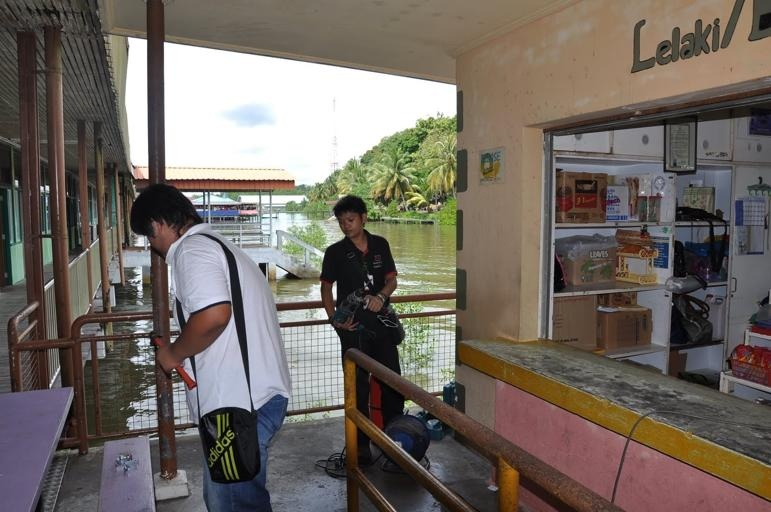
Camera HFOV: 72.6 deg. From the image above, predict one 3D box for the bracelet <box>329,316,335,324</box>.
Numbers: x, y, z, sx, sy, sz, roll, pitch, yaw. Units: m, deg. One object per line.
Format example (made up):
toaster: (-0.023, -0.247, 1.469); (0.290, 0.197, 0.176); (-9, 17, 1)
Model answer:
bracelet: (-0.560, 0.652, 5.268); (0.065, 0.075, 0.082); (2, -4, -21)

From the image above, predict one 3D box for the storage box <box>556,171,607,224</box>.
storage box: (2.066, -0.613, 5.785); (0.568, 0.563, 0.576); (2, 5, -3)

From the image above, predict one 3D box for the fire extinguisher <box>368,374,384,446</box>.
fire extinguisher: (-0.101, 1.495, 5.318); (0.139, 0.571, 0.169); (-4, 4, -5)

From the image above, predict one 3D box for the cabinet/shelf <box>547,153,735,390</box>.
cabinet/shelf: (2.764, 0.167, 5.783); (2.632, 2.484, 0.610); (5, -4, -24)

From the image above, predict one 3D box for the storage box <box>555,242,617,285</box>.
storage box: (2.198, 0.100, 5.697); (0.508, 0.319, 0.509); (-3, 8, -11)

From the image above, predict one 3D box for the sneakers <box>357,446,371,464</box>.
sneakers: (-0.210, 1.991, 5.234); (0.141, 0.144, 0.119); (-4, 5, -6)

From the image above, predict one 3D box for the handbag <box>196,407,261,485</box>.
handbag: (-0.993, 1.206, 3.363); (0.394, 0.496, 0.273); (-13, -10, -7)

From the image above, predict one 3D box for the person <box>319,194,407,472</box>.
person: (-0.240, 0.724, 5.342); (0.785, 2.692, 0.627); (-4, 4, -5)

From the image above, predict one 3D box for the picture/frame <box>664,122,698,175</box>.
picture/frame: (3.073, -1.138, 5.483); (0.521, 0.722, 0.072); (0, -1, -18)

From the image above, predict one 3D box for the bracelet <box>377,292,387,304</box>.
bracelet: (-0.034, 0.417, 5.229); (0.102, 0.094, 0.066); (38, 33, 2)

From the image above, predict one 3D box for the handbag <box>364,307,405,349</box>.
handbag: (-0.010, 0.706, 5.412); (0.324, 0.423, 0.179); (-30, 3, -4)

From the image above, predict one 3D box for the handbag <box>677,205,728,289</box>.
handbag: (3.675, -0.130, 6.514); (0.630, 1.102, 1.105); (1, 6, 16)

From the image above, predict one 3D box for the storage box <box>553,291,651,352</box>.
storage box: (2.346, 0.735, 5.724); (1.153, 0.683, 0.777); (2, 1, 5)
